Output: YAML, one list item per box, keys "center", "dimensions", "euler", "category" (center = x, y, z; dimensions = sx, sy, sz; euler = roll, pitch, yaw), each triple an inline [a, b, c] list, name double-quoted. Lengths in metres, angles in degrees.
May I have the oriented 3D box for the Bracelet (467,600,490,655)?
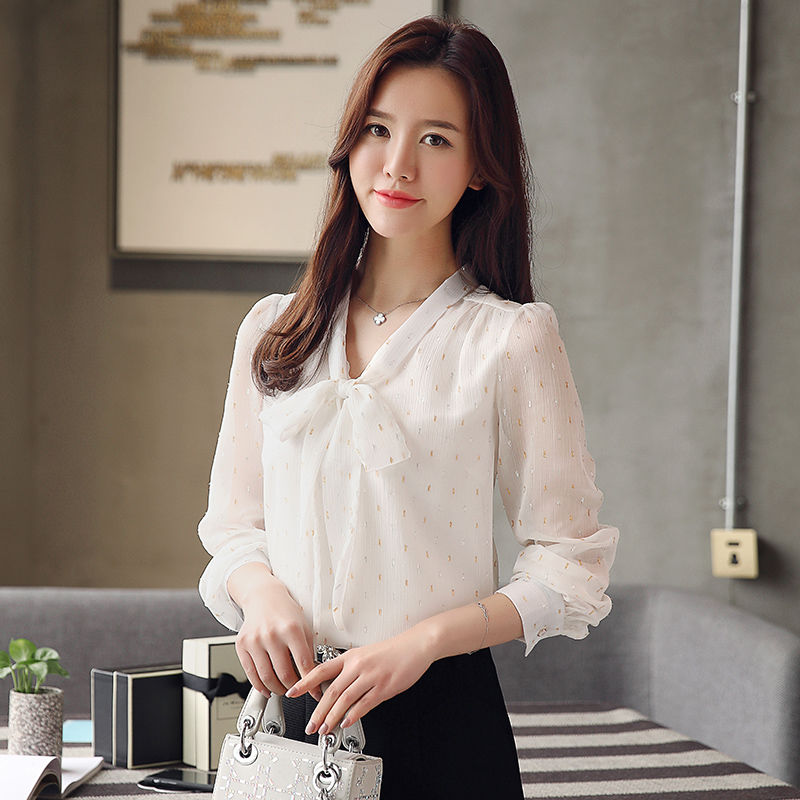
- center: [0.089, 0.255, 1.172]
  dimensions: [0.019, 0.050, 0.032]
  euler: [12, -11, -32]
  category: "Bracelet"

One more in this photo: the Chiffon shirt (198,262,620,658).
- center: [-0.001, 0.082, 1.305]
  dimensions: [0.505, 0.546, 0.316]
  euler: [0, -11, 19]
  category: "Chiffon shirt"
